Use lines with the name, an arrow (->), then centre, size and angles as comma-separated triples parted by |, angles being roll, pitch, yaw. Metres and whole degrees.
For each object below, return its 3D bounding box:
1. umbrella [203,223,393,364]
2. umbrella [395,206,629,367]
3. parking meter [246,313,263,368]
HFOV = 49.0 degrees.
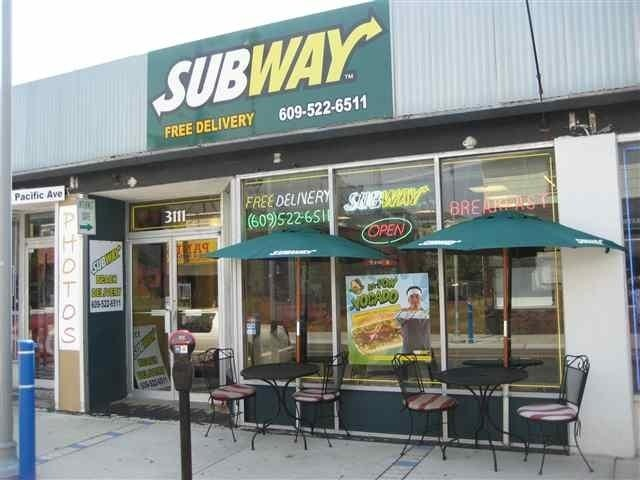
umbrella -> -0.348, 0.793, 9.438 | 1.975, 1.550, 1.926 | -2, 3, -15
umbrella -> 2.407, 0.351, 8.808 | 2.060, 1.629, 2.067 | -1, 5, 17
parking meter -> -0.966, 1.368, 9.987 | 0.168, 0.624, 0.070 | -1, -4, -18
